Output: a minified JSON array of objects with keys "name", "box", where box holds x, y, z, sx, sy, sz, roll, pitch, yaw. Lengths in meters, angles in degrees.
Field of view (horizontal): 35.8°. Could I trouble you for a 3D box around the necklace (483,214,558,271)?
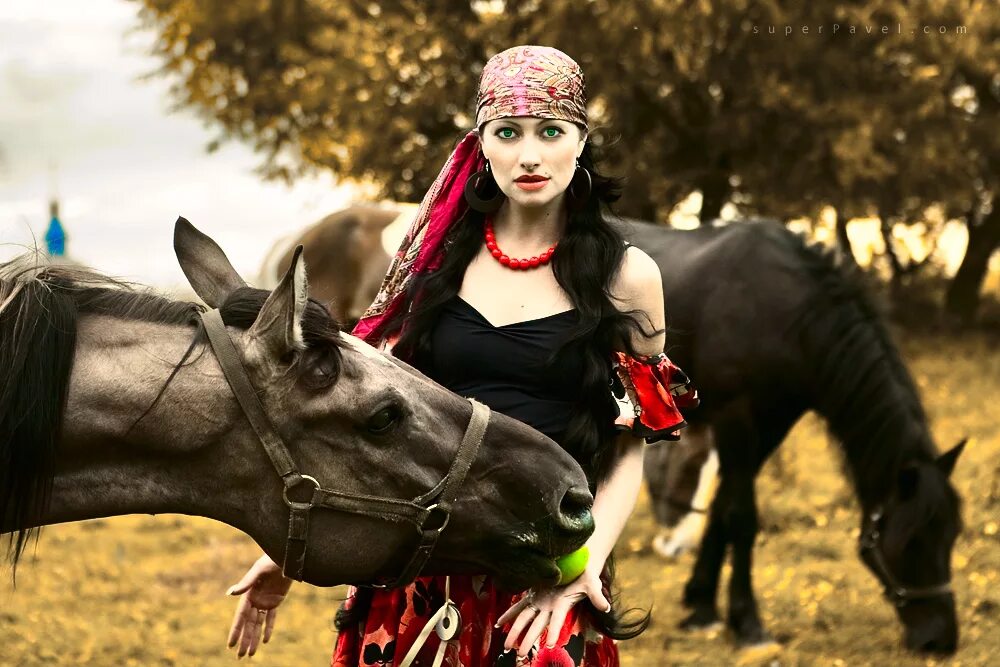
[{"name":"necklace","box":[0.118,-0.483,8.620,0.387,0.073,0.409,15,-32,-13]}]
